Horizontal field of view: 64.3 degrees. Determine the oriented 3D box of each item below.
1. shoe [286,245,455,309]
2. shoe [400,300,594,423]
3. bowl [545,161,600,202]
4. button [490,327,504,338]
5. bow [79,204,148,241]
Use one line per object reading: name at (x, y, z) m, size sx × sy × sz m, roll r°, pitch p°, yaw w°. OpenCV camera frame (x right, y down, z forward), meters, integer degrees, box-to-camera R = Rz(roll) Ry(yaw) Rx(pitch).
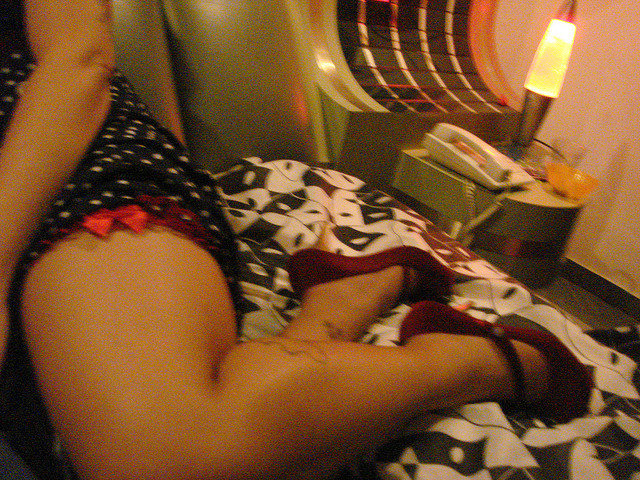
shoe at (0.125, 0.056, 1.075) m, size 0.400 × 0.097 × 0.119 m, roll -7°, pitch 15°, yaw -16°
shoe at (0.318, 0.236, 0.927) m, size 0.369 × 0.113 × 0.142 m, roll 25°, pitch 54°, yaw -6°
bowl at (0.589, -0.137, 1.245) m, size 0.109 × 0.027 × 0.106 m, roll 13°, pitch 24°, yaw -6°
button at (0.291, 0.156, 0.851) m, size 0.020 × 0.009 × 0.015 m, roll 10°, pitch 61°, yaw 20°
bow at (-0.287, -0.025, 0.726) m, size 0.095 × 0.021 × 0.065 m, roll -15°, pitch 34°, yaw -33°
